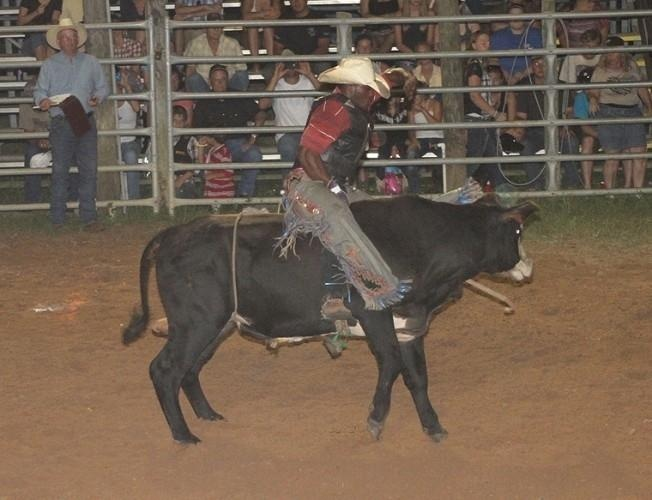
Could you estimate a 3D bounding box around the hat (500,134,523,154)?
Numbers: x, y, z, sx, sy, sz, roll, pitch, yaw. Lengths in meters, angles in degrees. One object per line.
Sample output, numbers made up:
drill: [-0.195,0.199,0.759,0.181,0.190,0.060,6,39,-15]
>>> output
hat: [2.470,-1.411,13.737,0.305,0.214,0.090,23,39,12]

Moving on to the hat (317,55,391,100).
hat: [0.235,-1.368,8.117,0.615,0.256,0.469,9,12,16]

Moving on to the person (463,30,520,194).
person: [2.147,-1.809,13.447,0.669,2.042,1.213,0,9,9]

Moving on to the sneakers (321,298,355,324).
sneakers: [0.083,0.450,7.742,0.233,0.189,0.086,-1,9,-2]

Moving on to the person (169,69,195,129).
person: [-1.834,-1.910,12.982,0.213,0.754,0.426,-1,1,-32]

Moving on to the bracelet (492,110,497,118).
bracelet: [2.169,-1.741,13.204,0.085,0.079,0.022,4,-11,31]

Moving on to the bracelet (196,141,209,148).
bracelet: [-1.568,-1.335,13.061,0.100,0.068,0.028,-12,-7,2]

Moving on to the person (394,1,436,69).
person: [1.184,-2.921,13.746,0.458,0.582,1.040,1,49,4]

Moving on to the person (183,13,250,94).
person: [-1.383,-2.450,13.057,1.121,1.286,0.849,-2,10,-12]

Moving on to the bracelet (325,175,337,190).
bracelet: [0.045,-0.516,7.897,0.058,0.099,0.037,-8,15,-16]

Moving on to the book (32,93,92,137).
book: [-3.071,-1.652,11.932,0.706,0.160,0.646,-12,22,35]

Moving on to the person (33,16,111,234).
person: [-2.962,-1.471,12.112,1.045,2.388,0.738,-5,10,-34]

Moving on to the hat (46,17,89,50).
hat: [-3.037,-2.555,12.199,0.478,0.441,0.137,0,25,-12]

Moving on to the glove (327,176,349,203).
glove: [0.090,-0.459,7.942,0.244,0.100,0.106,40,16,22]
